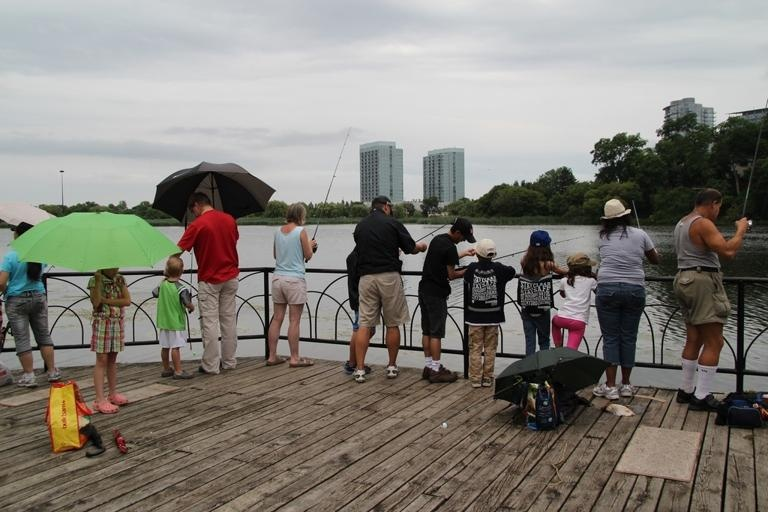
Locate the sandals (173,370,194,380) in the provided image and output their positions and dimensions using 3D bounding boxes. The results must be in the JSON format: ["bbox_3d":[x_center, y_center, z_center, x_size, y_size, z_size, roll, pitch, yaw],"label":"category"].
[{"bbox_3d":[-2.718,1.615,8.864,0.222,0.094,0.118,1,0,2],"label":"sandals"}]

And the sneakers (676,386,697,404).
[{"bbox_3d":[3.676,1.703,7.930,0.279,0.117,0.112,-4,3,-40],"label":"sneakers"}]

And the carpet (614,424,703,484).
[{"bbox_3d":[2.897,2.068,6.848,0.703,0.251,1.057,0,4,31],"label":"carpet"}]

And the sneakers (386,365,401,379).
[{"bbox_3d":[0.114,1.573,8.912,0.100,0.102,0.243,0,3,10],"label":"sneakers"}]

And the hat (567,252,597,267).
[{"bbox_3d":[2.496,0.053,8.129,0.460,0.180,0.316,0,5,-22],"label":"hat"}]

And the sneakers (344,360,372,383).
[{"bbox_3d":[-0.393,1.592,9.063,0.163,0.173,0.381,2,6,-17],"label":"sneakers"}]

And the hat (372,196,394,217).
[{"bbox_3d":[-0.009,-0.663,8.643,0.243,0.282,0.285,3,3,15],"label":"hat"}]

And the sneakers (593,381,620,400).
[{"bbox_3d":[2.759,1.679,8.173,0.143,0.161,0.344,-6,7,-41],"label":"sneakers"}]

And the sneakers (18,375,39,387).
[{"bbox_3d":[-4.760,1.646,8.721,0.133,0.156,0.318,-2,5,-37],"label":"sneakers"}]

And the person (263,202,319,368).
[{"bbox_3d":[-1.331,0.419,9.272,0.746,2.312,0.584,-2,4,-11],"label":"person"}]

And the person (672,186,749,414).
[{"bbox_3d":[3.787,0.512,7.633,0.740,2.599,0.440,0,4,27],"label":"person"}]

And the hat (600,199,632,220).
[{"bbox_3d":[2.825,-0.617,7.996,0.289,0.119,0.314,-16,6,27],"label":"hat"}]

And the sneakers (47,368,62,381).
[{"bbox_3d":[-4.494,1.620,8.900,0.104,0.115,0.248,-1,2,-2],"label":"sneakers"}]

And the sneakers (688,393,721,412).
[{"bbox_3d":[3.777,1.732,7.685,0.341,0.144,0.166,-2,-1,2],"label":"sneakers"}]

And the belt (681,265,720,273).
[{"bbox_3d":[3.663,0.150,7.591,0.362,0.063,0.098,0,4,29],"label":"belt"}]

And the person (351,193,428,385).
[{"bbox_3d":[-0.001,0.442,8.666,0.874,2.454,0.394,-2,4,-4],"label":"person"}]

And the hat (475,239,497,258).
[{"bbox_3d":[1.305,-0.095,8.337,0.260,0.232,0.224,-1,3,7],"label":"hat"}]

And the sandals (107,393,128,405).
[{"bbox_3d":[-3.221,1.731,7.961,0.201,0.080,0.131,2,3,33],"label":"sandals"}]

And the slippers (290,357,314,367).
[{"bbox_3d":[-1.181,1.525,9.331,0.270,0.080,0.148,-1,3,-7],"label":"slippers"}]

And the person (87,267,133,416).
[{"bbox_3d":[-3.240,0.994,7.758,0.437,1.726,0.772,-3,4,-24],"label":"person"}]

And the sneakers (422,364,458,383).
[{"bbox_3d":[0.763,1.577,8.742,0.384,0.175,0.231,-1,1,-8],"label":"sneakers"}]

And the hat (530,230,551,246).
[{"bbox_3d":[1.994,-0.220,8.291,0.259,0.212,0.186,-1,3,8],"label":"hat"}]

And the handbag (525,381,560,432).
[{"bbox_3d":[1.769,1.705,7.325,0.384,0.535,0.520,0,-18,4],"label":"handbag"}]

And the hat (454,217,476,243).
[{"bbox_3d":[1.034,-0.332,8.451,0.288,0.330,0.329,-1,3,5],"label":"hat"}]

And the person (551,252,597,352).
[{"bbox_3d":[2.419,0.683,8.336,0.554,1.527,0.550,9,20,25],"label":"person"}]

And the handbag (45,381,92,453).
[{"bbox_3d":[-3.411,1.742,7.069,0.241,0.687,0.537,-9,-8,29],"label":"handbag"}]

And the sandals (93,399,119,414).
[{"bbox_3d":[-3.304,1.798,7.777,0.223,0.081,0.151,3,5,27],"label":"sandals"}]

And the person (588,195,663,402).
[{"bbox_3d":[2.923,0.534,7.988,0.702,2.464,0.952,0,4,21],"label":"person"}]
